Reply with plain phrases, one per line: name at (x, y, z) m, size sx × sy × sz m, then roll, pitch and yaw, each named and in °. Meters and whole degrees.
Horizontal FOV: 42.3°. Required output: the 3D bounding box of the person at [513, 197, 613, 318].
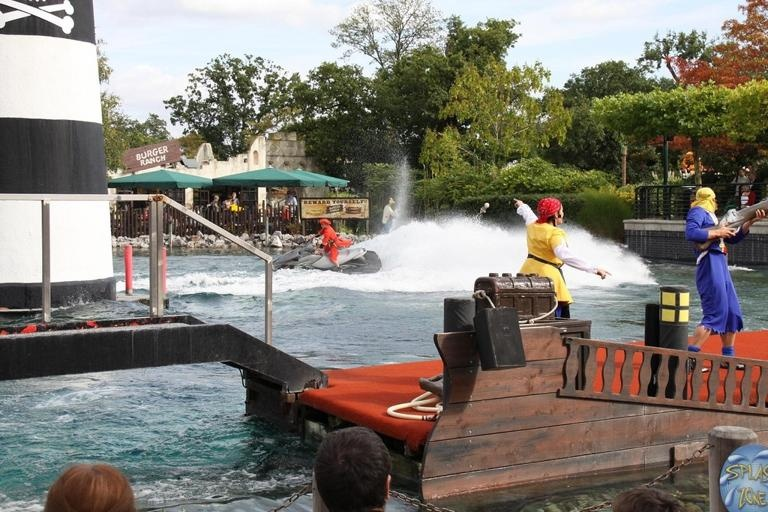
person at (2.402, 0.000, 13.773) m, size 0.995 × 1.354 × 2.128 m, roll -2°, pitch 0°, yaw 2°

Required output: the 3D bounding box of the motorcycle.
motorcycle at (-1.686, -0.032, 29.923) m, size 3.413 × 1.399 × 1.121 m, roll 1°, pitch -6°, yaw -3°

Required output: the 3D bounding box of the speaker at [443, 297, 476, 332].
speaker at (0.940, 0.718, 12.255) m, size 0.456 × 0.433 × 0.418 m, roll 0°, pitch 1°, yaw -9°

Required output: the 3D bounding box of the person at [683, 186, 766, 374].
person at (4.793, 0.217, 14.056) m, size 0.890 × 1.827 × 0.849 m, roll -2°, pitch 1°, yaw 28°

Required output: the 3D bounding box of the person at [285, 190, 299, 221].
person at (-4.303, -2.296, 46.837) m, size 0.556 × 1.219 × 1.154 m, roll -2°, pitch 1°, yaw -5°

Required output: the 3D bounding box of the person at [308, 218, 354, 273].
person at (-1.568, -0.521, 30.435) m, size 1.654 × 1.894 × 1.017 m, roll -7°, pitch 11°, yaw -1°

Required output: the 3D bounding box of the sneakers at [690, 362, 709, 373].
sneakers at (4.294, 1.518, 13.491) m, size 0.309 × 0.088 × 0.405 m, roll -1°, pitch -2°, yaw 8°
